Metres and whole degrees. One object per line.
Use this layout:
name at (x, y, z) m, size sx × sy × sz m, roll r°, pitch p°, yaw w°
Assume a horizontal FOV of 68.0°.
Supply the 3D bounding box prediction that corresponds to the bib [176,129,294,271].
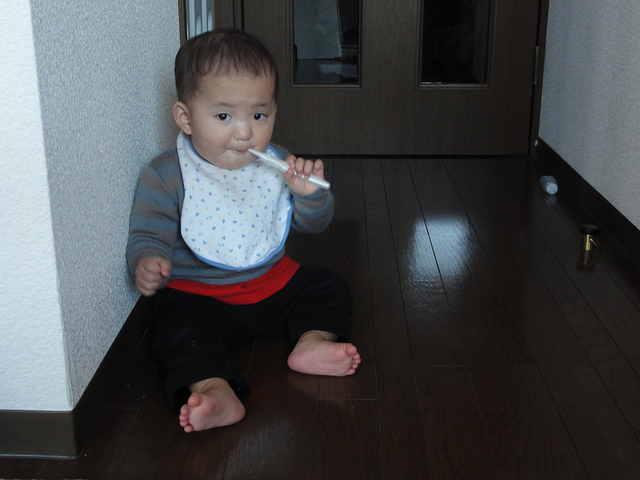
bib at (-0.213, -0.112, 1.068) m, size 0.230 × 0.348 × 0.048 m, roll -14°, pitch 18°, yaw -23°

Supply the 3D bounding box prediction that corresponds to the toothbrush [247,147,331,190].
toothbrush at (-0.076, -0.171, 1.063) m, size 0.172 × 0.111 × 0.084 m, roll -6°, pitch 28°, yaw -8°
